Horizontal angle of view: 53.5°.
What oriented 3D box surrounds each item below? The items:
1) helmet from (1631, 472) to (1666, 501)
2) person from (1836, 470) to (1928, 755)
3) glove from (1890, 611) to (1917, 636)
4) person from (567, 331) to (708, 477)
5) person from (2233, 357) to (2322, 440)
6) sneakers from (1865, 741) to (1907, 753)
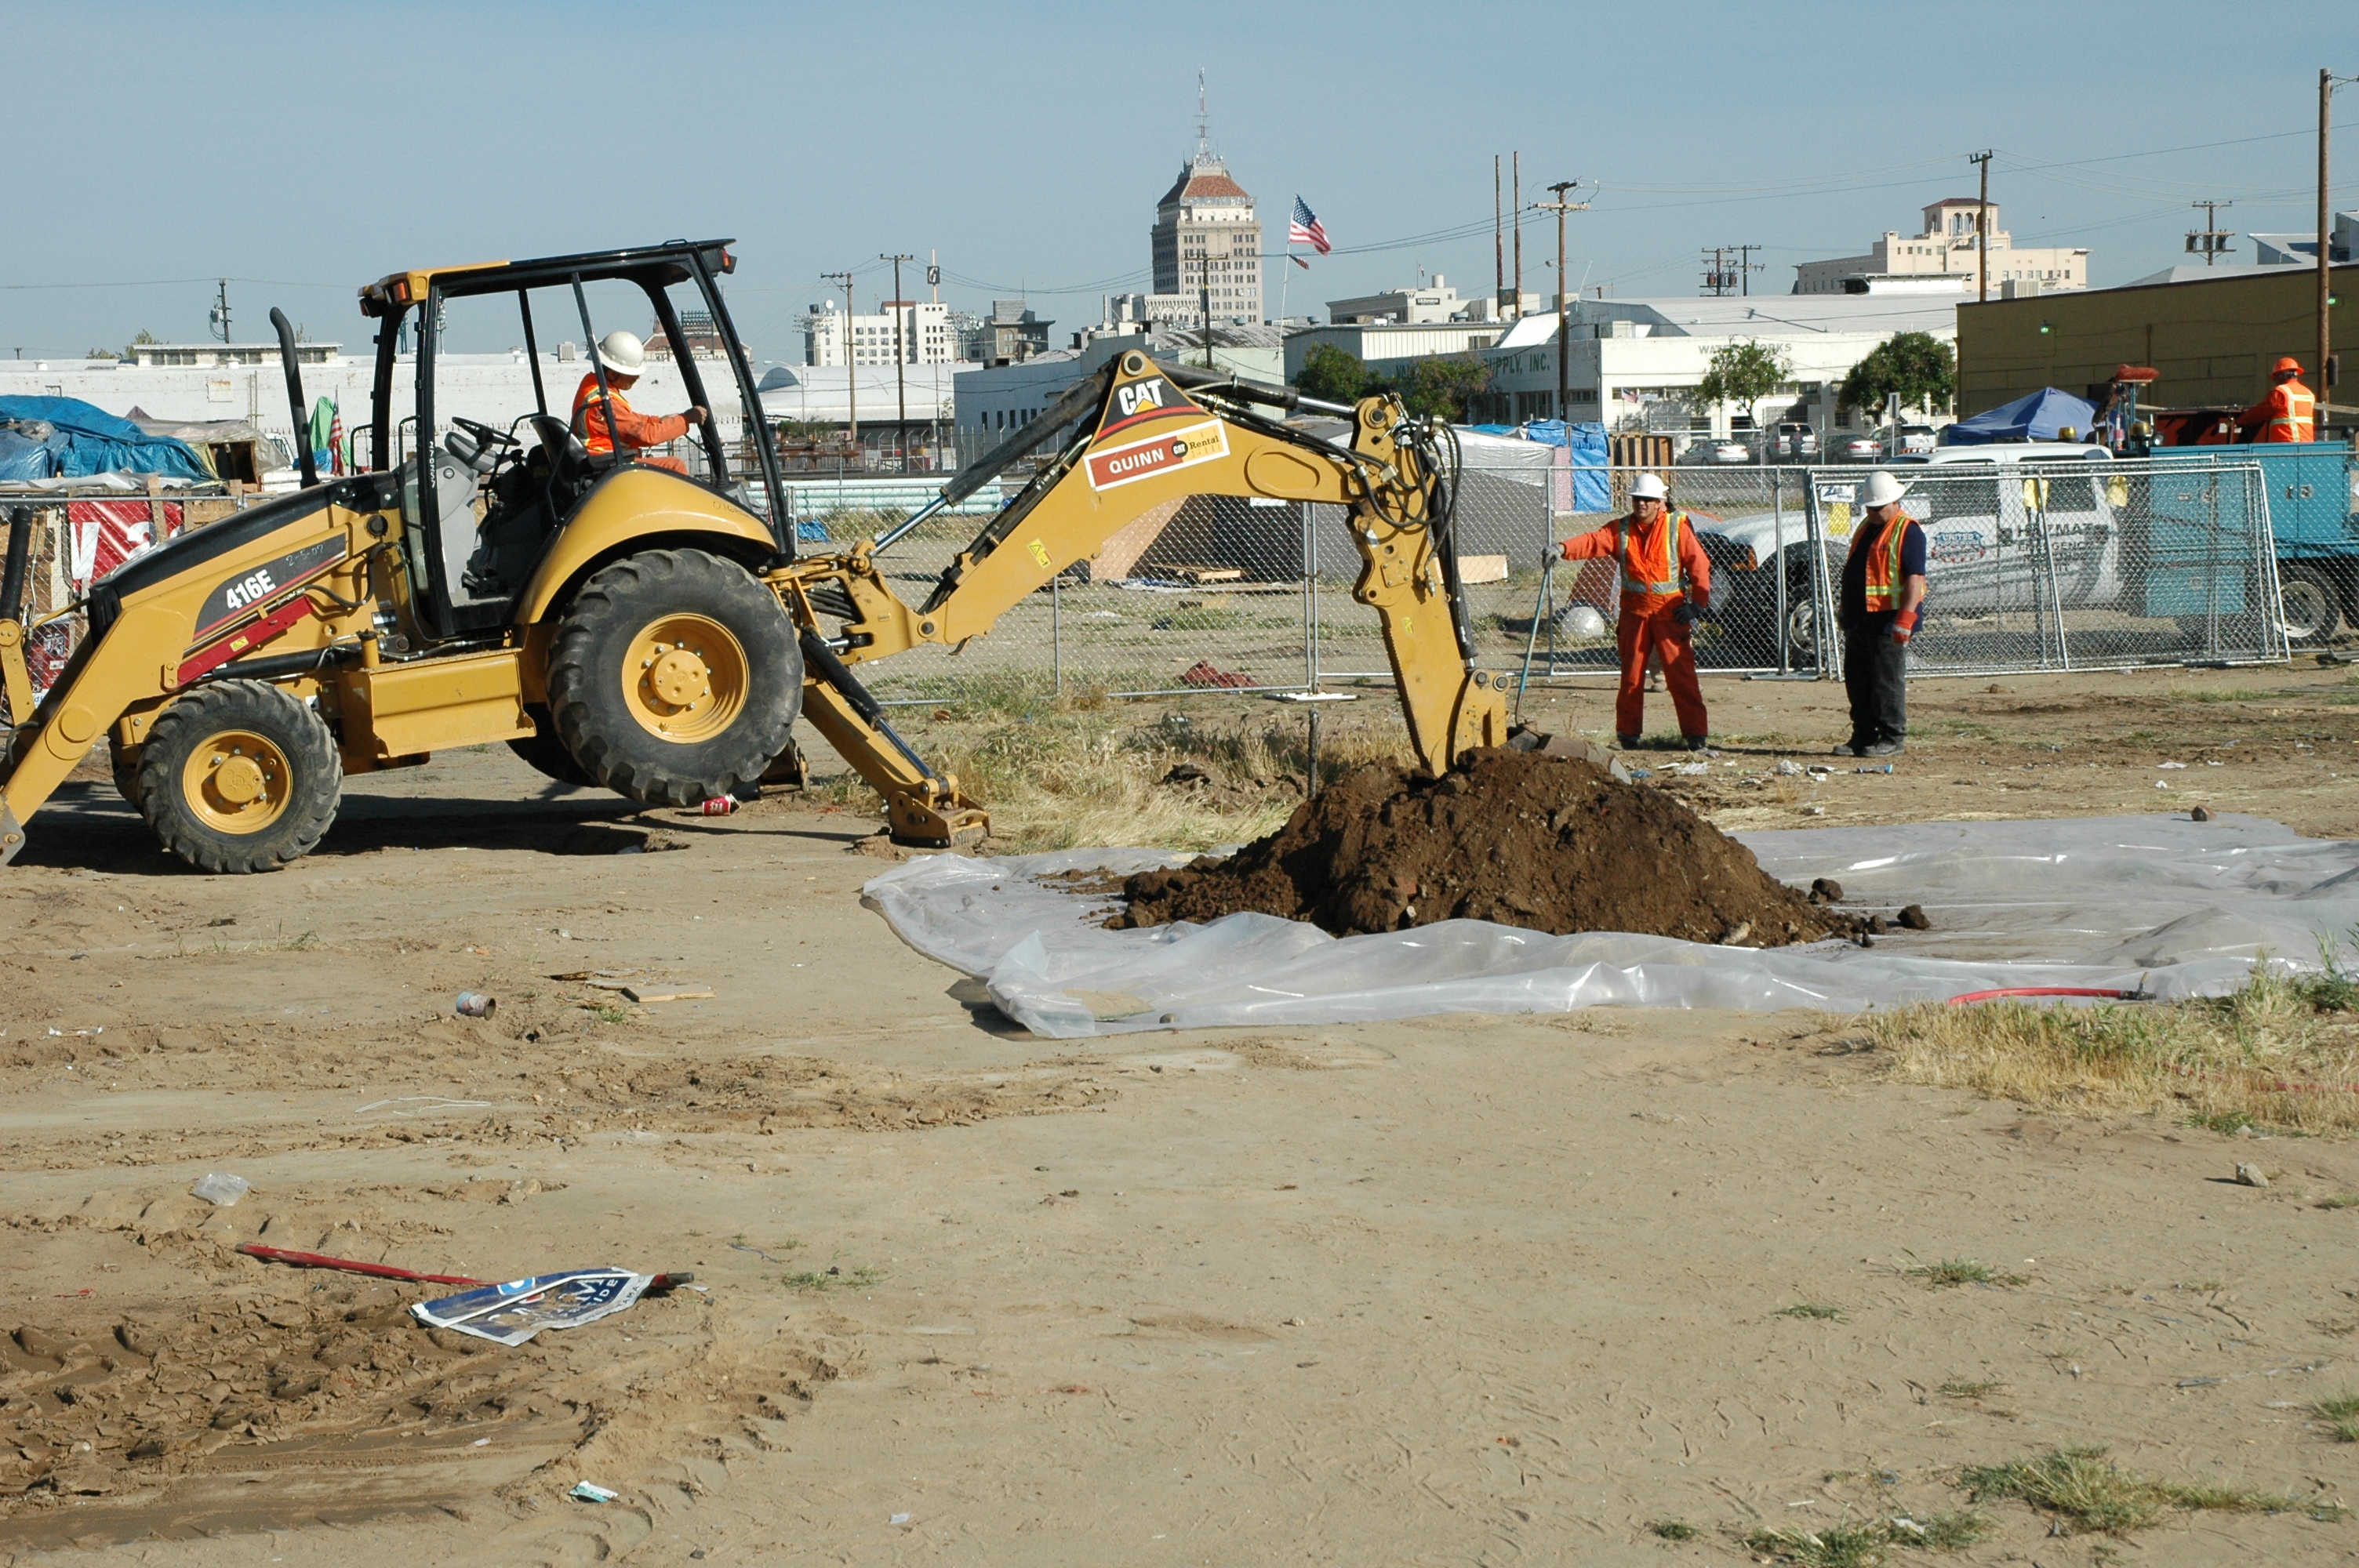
[{"bbox_3d":[3.617,-2.223,18.046,0.324,0.204,0.426,3,0,15],"label":"helmet"},{"bbox_3d":[5.474,-1.272,18.207,0.545,2.078,1.106,1,12,15],"label":"person"},{"bbox_3d":[5.533,-1.167,17.783,0.210,0.180,0.115,-11,16,-8],"label":"glove"},{"bbox_3d":[-3.542,-2.222,14.824,0.745,1.125,0.699,31,35,31],"label":"person"},{"bbox_3d":[11.897,-4.043,25.160,0.687,0.860,2.295,4,11,24],"label":"person"},{"bbox_3d":[5.467,-0.243,18.064,0.299,0.108,0.090,-8,18,-4],"label":"sneakers"}]
